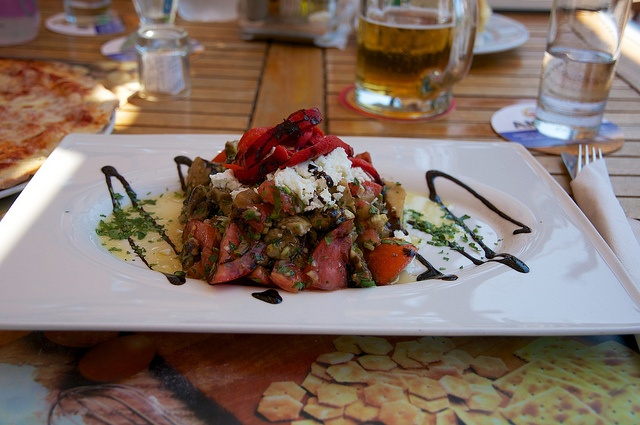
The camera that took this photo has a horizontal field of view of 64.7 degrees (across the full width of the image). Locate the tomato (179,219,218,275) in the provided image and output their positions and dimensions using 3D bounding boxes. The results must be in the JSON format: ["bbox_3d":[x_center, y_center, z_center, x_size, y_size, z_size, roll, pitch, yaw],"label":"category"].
[{"bbox_3d":[-0.298,0.090,1.271,0.102,0.044,0.132,5,50,8],"label":"tomato"}]

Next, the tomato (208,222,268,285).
[{"bbox_3d":[-0.196,0.101,1.218,0.131,0.049,0.166,9,50,-1],"label":"tomato"}]

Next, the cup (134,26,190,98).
[{"bbox_3d":[-0.585,-0.616,2.069,0.260,0.283,0.279,2,27,-1],"label":"cup"}]

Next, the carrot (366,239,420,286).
[{"bbox_3d":[0.188,0.146,1.329,0.096,0.075,0.124,25,40,24],"label":"carrot"}]

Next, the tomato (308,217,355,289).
[{"bbox_3d":[0.018,0.102,1.281,0.117,0.039,0.165,35,50,-27],"label":"tomato"}]
